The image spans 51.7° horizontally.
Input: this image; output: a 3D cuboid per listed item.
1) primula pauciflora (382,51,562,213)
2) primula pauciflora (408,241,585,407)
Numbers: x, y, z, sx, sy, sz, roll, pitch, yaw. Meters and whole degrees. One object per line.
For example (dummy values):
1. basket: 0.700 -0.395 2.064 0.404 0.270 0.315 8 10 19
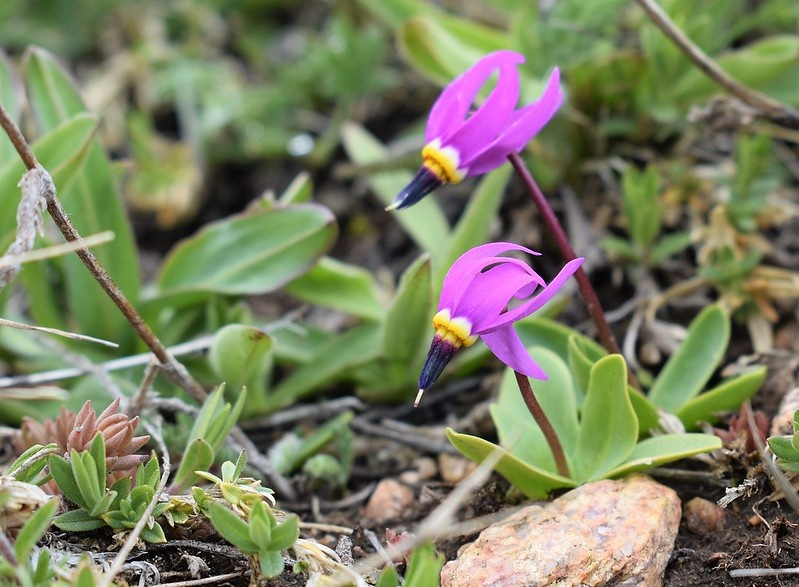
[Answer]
1. primula pauciflora: 0.141 -0.350 1.749 0.178 0.267 0.446 35 56 16
2. primula pauciflora: 0.178 0.043 1.711 0.352 0.286 0.281 -9 25 -17
